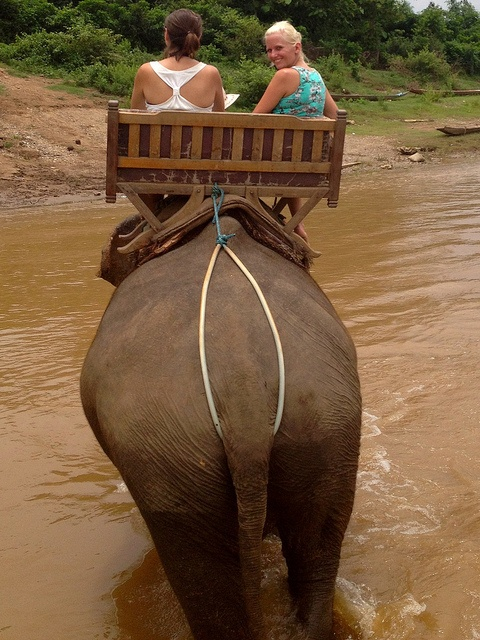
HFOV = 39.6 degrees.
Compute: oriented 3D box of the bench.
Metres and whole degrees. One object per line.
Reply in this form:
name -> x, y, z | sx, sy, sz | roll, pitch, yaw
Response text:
bench -> -0.062, -0.618, 3.034 | 1.015, 0.528, 0.384 | 1, 13, -4
